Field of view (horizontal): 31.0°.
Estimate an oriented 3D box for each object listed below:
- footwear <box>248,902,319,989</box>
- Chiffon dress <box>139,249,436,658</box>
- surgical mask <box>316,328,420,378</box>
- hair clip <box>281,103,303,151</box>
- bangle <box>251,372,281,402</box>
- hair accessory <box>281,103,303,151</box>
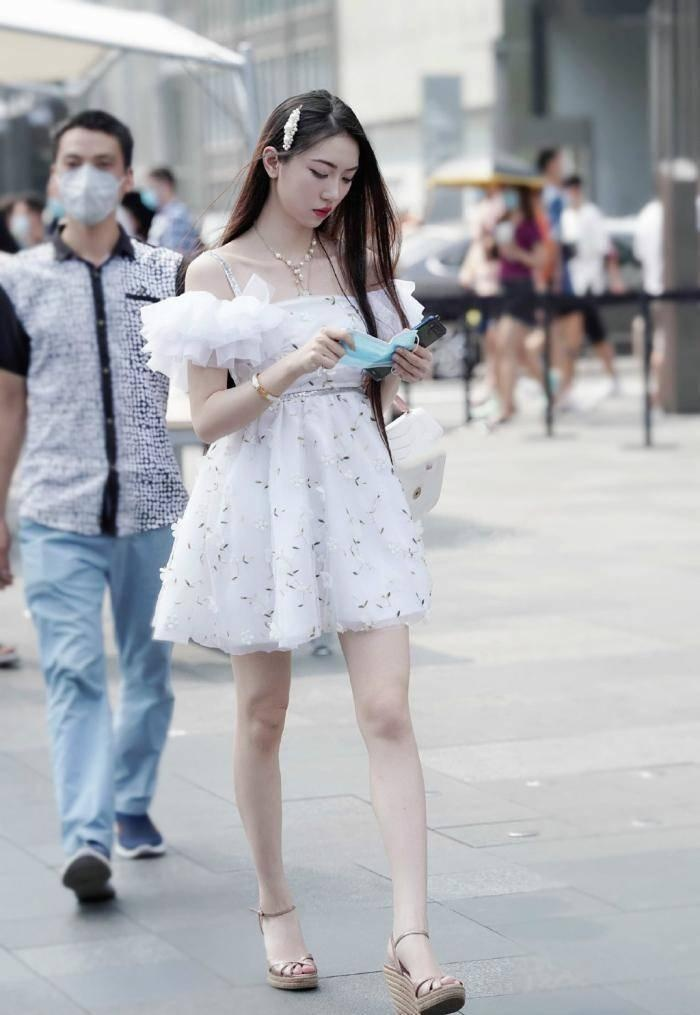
[{"bbox_3d":[-0.134,0.789,2.230,0.069,0.090,0.161,-1,-5,-18],"label":"footwear"},{"bbox_3d":[-0.104,-0.081,2.163,0.482,0.690,0.325,-2,4,-8],"label":"Chiffon dress"},{"bbox_3d":[0.031,-0.260,2.061,0.083,0.072,0.194,1,4,30],"label":"surgical mask"},{"bbox_3d":[-0.099,-0.633,2.098,0.033,0.077,0.028,-1,4,-1],"label":"hair clip"},{"bbox_3d":[-0.137,-0.195,2.054,0.042,0.018,0.048,37,-11,17],"label":"bangle"},{"bbox_3d":[-0.099,-0.633,2.098,0.033,0.077,0.028,-1,4,-1],"label":"hair accessory"}]
